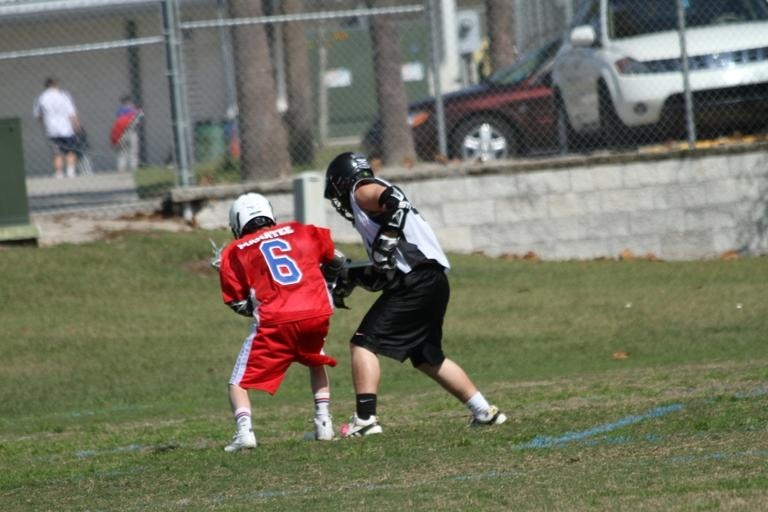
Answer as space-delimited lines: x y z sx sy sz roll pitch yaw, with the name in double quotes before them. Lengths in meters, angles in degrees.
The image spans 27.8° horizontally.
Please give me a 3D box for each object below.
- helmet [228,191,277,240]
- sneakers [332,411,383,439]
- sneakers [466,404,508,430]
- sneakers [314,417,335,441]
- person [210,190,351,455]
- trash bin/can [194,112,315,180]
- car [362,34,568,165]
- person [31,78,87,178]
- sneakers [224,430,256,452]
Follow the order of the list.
"helmet" -1.468 -0.480 16.719 0.418 0.438 0.511 -11 -24 -27
"sneakers" -0.257 1.772 16.348 0.545 0.242 0.190 -3 2 5
"sneakers" 1.082 1.664 16.402 0.462 0.201 0.171 -4 -15 -3
"sneakers" -0.621 1.791 16.438 0.188 0.246 0.264 3 4 16
"person" -1.129 0.639 16.480 1.367 2.014 0.661 -7 4 -3
"trash bin/can" -1.905 -1.513 21.717 1.269 1.073 0.822 -8 10 -28
"car" 1.043 -2.062 22.309 3.322 1.051 1.364 -2 -1 -5
"person" -4.487 -1.796 21.607 0.489 1.149 0.240 -8 4 -11
"sneakers" -1.561 1.911 16.217 0.430 0.188 0.155 -5 3 17
